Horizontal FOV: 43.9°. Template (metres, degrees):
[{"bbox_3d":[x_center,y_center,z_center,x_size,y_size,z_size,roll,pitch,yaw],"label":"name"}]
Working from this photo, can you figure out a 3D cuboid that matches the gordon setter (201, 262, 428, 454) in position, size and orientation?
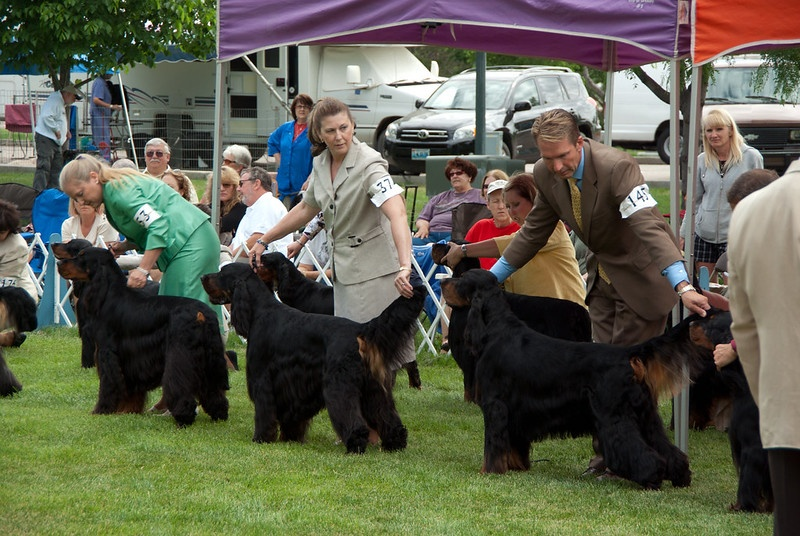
[{"bbox_3d":[-0.747,0.758,8.222,2.134,1.400,0.669,3,5,32],"label":"gordon setter"}]

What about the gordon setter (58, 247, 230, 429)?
[{"bbox_3d":[-2.312,0.596,8.828,1.615,1.463,0.585,1,-1,18],"label":"gordon setter"}]

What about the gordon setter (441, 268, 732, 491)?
[{"bbox_3d":[1.271,0.875,7.518,2.035,1.432,0.562,3,6,34],"label":"gordon setter"}]
